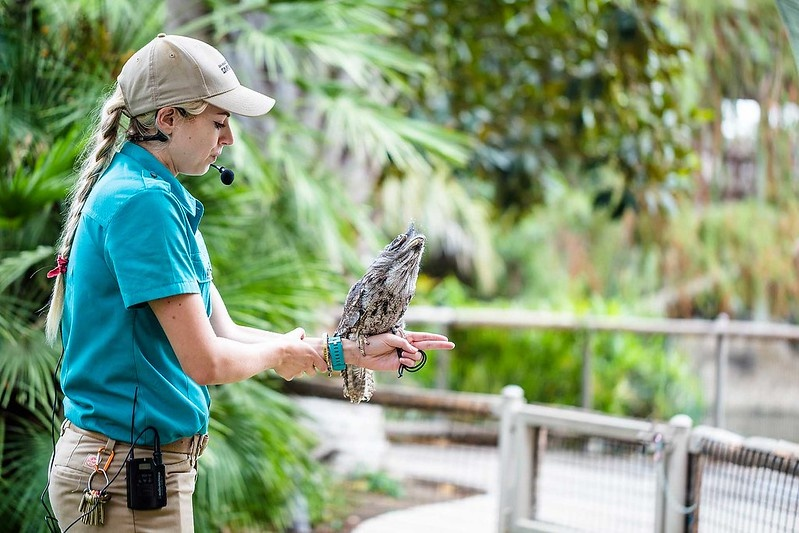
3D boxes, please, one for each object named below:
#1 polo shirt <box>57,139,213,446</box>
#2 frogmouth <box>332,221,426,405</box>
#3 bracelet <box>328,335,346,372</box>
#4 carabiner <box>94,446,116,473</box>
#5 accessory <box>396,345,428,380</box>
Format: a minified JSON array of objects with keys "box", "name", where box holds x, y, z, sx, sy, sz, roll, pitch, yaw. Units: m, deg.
[{"box":[-1.209,0.124,5.983,0.672,1.383,0.336,0,4,-15],"name":"polo shirt"},{"box":[-0.103,0.165,6.346,0.284,0.734,0.536,8,0,-37],"name":"frogmouth"},{"box":[-0.300,0.416,6.201,0.097,0.156,0.140,-10,-3,-8],"name":"bracelet"},{"box":[-1.356,0.882,5.951,0.065,0.117,0.028,10,-4,-3],"name":"carabiner"},{"box":[0.051,0.465,6.335,0.130,0.181,0.043,26,14,-15],"name":"accessory"}]
